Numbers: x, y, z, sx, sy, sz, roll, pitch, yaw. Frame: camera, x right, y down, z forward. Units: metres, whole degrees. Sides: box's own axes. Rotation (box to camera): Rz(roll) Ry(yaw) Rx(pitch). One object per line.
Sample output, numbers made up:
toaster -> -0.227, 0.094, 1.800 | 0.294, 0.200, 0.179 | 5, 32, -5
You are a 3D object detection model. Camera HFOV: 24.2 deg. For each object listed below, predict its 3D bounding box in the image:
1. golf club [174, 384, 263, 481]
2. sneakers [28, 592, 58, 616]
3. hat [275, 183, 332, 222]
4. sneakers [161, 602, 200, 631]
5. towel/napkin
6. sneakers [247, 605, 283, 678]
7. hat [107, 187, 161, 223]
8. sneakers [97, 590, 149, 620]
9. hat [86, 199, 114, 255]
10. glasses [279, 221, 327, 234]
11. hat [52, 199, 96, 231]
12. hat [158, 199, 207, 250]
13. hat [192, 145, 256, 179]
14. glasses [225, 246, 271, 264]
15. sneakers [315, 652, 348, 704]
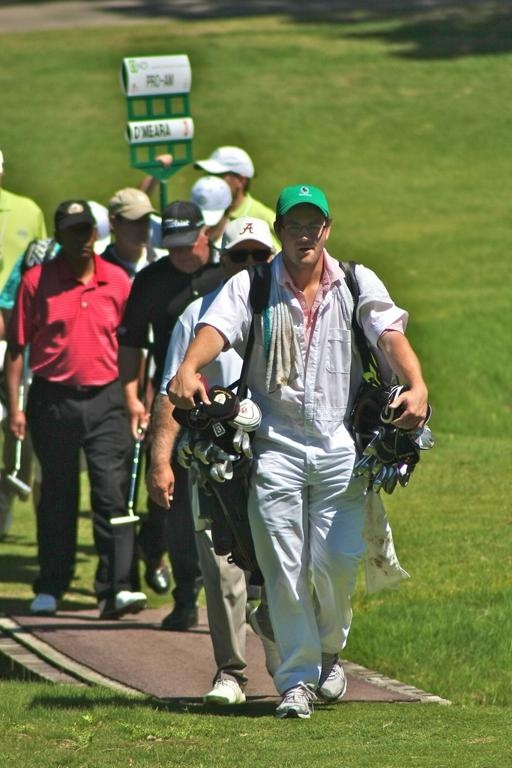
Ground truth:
golf club -> -0.097, 0.131, 3.068 | 0.219, 0.254, 0.213 | 1, 1, -1
sneakers -> -0.800, 0.806, 4.423 | 0.077, 0.053, 0.141 | 3, -7, -4
hat -> 0.129, -0.496, 3.220 | 0.140, 0.108, 0.210 | 1, 1, 1
sneakers -> -0.276, 0.845, 4.342 | 0.166, 0.083, 0.058 | 2, 0, -30
towel/napkin -> 0.064, -0.148, 3.139 | 0.093, 0.321, 0.086 | 2, 2, 33
sneakers -> 0.035, 0.722, 3.455 | 0.087, 0.230, 0.102 | -13, -36, -11
hat -> -0.523, -0.744, 4.974 | 0.134, 0.099, 0.186 | -11, 14, -41
sneakers -> -0.489, 0.788, 4.343 | 0.082, 0.096, 0.217 | 14, -33, -41
hat -> -0.746, -0.754, 5.696 | 0.098, 0.310, 0.313 | 3, -5, 0
glasses -> 0.131, -0.411, 3.161 | 0.112, 0.036, 0.052 | 1, 1, 2
hat -> -0.687, -0.626, 4.415 | 0.117, 0.072, 0.147 | -8, 5, -11
hat -> -0.261, -0.568, 4.266 | 0.133, 0.104, 0.189 | 1, 36, 13
hat -> -0.153, -1.163, 6.292 | 0.275, 0.119, 0.192 | 5, 3, -19
glasses -> -0.018, -0.402, 3.669 | 0.095, 0.028, 0.092 | 0, -22, -3
sneakers -> 0.221, 0.825, 3.368 | 0.063, 0.071, 0.166 | -3, 15, -2
